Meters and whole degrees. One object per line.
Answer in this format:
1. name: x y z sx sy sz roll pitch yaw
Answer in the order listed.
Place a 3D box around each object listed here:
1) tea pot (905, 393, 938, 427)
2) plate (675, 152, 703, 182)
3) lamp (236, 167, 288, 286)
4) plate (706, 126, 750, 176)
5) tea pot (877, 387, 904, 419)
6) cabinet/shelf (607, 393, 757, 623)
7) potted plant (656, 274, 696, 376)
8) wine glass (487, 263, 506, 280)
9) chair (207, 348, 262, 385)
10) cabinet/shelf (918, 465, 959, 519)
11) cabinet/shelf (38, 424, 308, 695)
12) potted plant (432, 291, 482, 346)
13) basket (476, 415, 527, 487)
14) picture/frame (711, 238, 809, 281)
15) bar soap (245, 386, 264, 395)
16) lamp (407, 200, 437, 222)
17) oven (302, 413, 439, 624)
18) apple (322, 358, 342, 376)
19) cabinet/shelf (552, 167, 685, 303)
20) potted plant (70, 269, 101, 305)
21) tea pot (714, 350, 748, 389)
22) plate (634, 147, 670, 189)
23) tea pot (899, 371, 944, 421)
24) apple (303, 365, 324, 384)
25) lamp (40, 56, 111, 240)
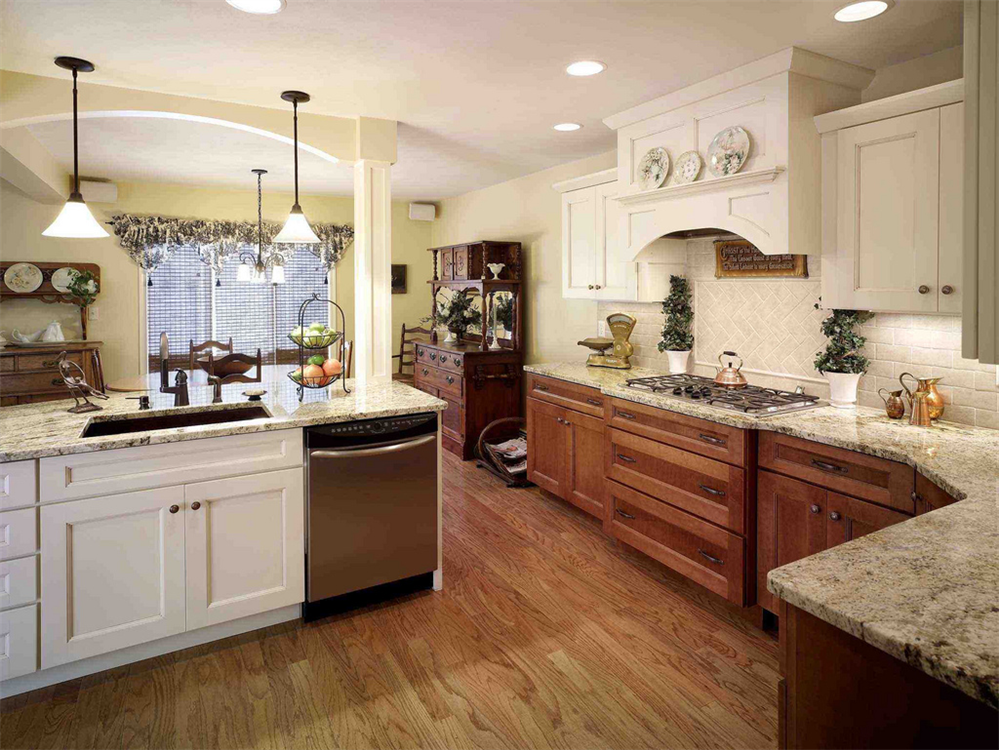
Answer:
1. tea pot: 2.032 0.164 3.308 0.174 0.144 0.080 -4 7 -20
2. plate: 1.081 -1.187 3.982 0.045 0.170 0.173 -6 8 -33
3. lamp: -2.456 -1.517 7.122 0.454 1.088 0.458 -7 21 -34
4. plate: 1.238 -1.213 3.775 0.064 0.257 0.273 -6 8 -31
5. tea pot: 1.952 0.147 3.514 0.155 0.165 0.106 0 3 27
6. cabinet/shelf: 1.207 0.576 4.035 0.823 1.114 1.187 0 4 -26
7. potted plant: 1.160 -0.340 4.626 0.235 0.651 0.174 2 8 30
8. wine glass: -0.031 -0.934 6.261 0.161 0.149 0.220 -1 6 2
9. chair: -1.776 -0.044 4.703 0.305 0.204 0.476 -2 3 -29
10. cabinet/shelf: 1.712 0.473 2.775 0.141 0.202 0.210 0 2 0
11. cabinet/shelf: -1.581 0.704 3.551 1.497 1.245 0.855 -1 0 -32
12. potted plant: -0.384 -0.613 6.936 0.544 0.736 0.683 0 13 -2
13. basket: 0.098 0.621 5.757 0.455 0.179 0.478 16 22 40
14. picture/frame: 1.554 -0.706 4.171 0.117 0.268 0.650 -5 7 -24
15. bar soap: -1.381 0.089 3.921 0.071 0.019 0.071 5 12 22
16. lamp: -0.905 -1.900 8.073 0.355 0.201 0.310 -4 7 -23
17. oven: -0.796 0.698 3.838 0.712 0.975 0.781 -4 8 -27
18. apple: -0.905 -0.050 3.755 0.086 0.087 0.085 7 28 2
19. cabinet/shelf: 0.824 -0.930 4.688 0.437 0.942 1.098 0 5 -23
20. potted plant: -3.996 -0.833 6.732 0.176 0.292 0.279 -5 12 -26
21. tea pot: 1.370 -0.035 4.129 0.212 0.223 0.251 -4 3 -28
22. plate: 0.931 -1.243 4.187 0.061 0.245 0.262 -5 7 -27
23. tea pot: 2.027 0.113 3.360 0.250 0.269 0.172 -2 3 -26
24. apple: -0.985 -0.003 3.669 0.095 0.113 0.092 8 15 14
25. lamp: -2.672 -1.220 4.358 0.312 0.927 2.783 -6 7 -31
